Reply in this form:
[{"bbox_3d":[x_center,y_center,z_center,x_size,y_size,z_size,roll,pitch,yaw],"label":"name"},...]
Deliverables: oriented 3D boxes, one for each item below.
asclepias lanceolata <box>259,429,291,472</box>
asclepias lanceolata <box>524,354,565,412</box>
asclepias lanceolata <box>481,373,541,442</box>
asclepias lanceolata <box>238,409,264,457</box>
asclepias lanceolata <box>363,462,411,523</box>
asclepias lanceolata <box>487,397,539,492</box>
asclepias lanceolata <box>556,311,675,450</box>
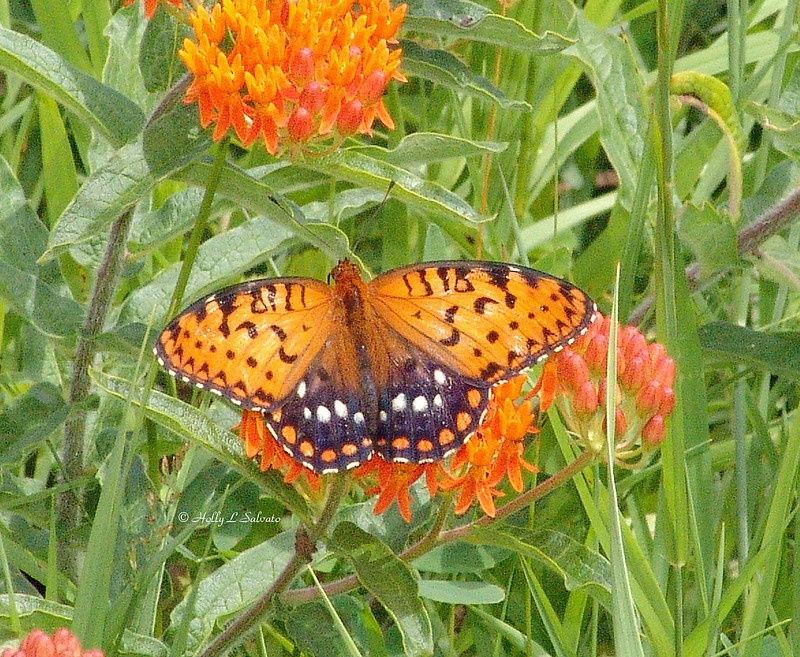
[{"bbox_3d":[-0.295,0.301,2.629,0.059,0.024,0.110,-18,79,-13],"label":"asclepias lanceolata"},{"bbox_3d":[0.359,0.132,2.744,0.089,0.046,0.135,-12,93,5],"label":"asclepias lanceolata"},{"bbox_3d":[0.269,0.188,2.687,0.109,0.083,0.180,24,83,1],"label":"asclepias lanceolata"},{"bbox_3d":[-0.352,0.247,2.639,0.072,0.023,0.102,-3,70,-1],"label":"asclepias lanceolata"},{"bbox_3d":[-0.033,0.374,2.651,0.117,0.068,0.126,7,83,-1],"label":"asclepias lanceolata"},{"bbox_3d":[0.279,0.288,2.745,0.157,0.087,0.210,7,81,-2],"label":"asclepias lanceolata"},{"bbox_3d":[0.563,0.145,2.743,0.289,0.266,0.300,-17,41,26],"label":"asclepias lanceolata"}]
